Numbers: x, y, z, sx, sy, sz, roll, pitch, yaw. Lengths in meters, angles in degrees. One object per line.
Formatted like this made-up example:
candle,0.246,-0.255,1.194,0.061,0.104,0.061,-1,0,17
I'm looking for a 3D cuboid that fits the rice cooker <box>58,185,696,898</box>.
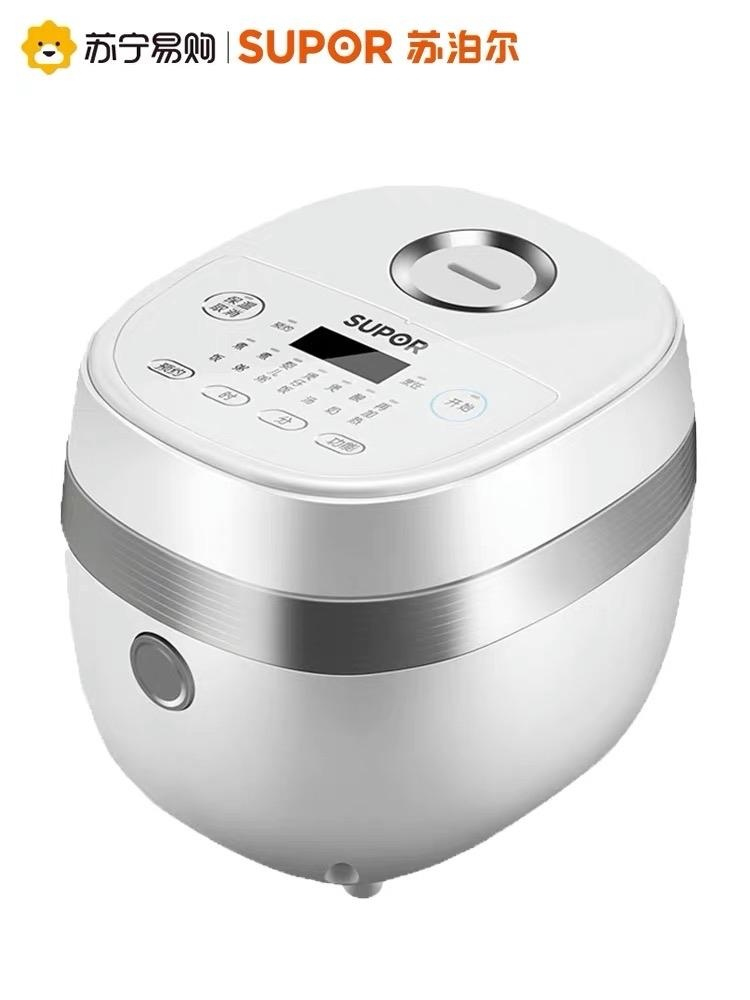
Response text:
rice cooker,0.040,0.041,1.116,0.554,0.465,0.636,34,48,30
